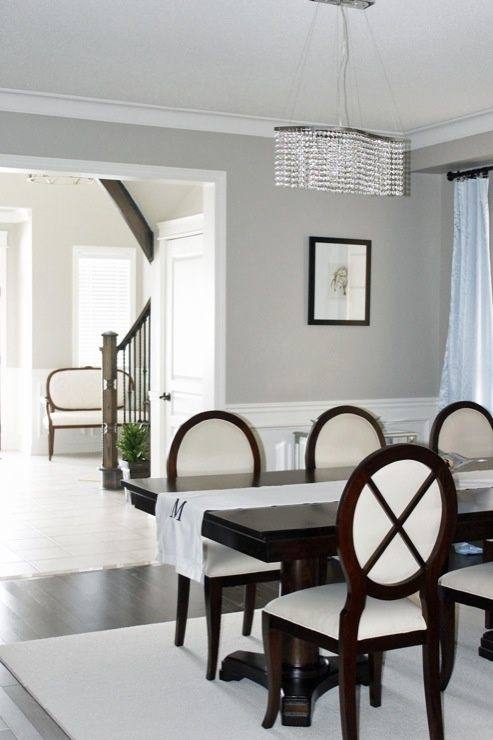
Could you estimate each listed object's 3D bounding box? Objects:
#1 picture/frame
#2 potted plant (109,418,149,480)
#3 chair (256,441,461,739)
[{"bbox_3d":[0.633,-0.623,4.270,0.625,0.805,0.057,0,2,-29],"label":"picture/frame"},{"bbox_3d":[-1.182,0.861,6.709,0.471,0.777,0.473,0,-4,-2],"label":"potted plant"},{"bbox_3d":[0.317,0.597,1.699,0.417,0.783,0.495,3,-6,-23],"label":"chair"}]
